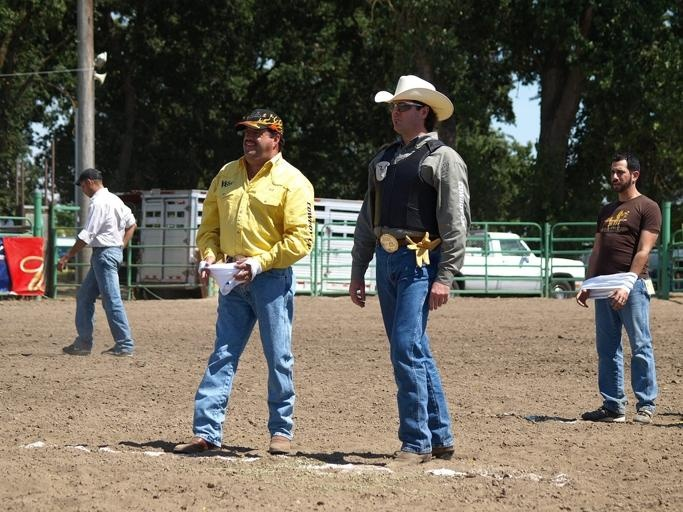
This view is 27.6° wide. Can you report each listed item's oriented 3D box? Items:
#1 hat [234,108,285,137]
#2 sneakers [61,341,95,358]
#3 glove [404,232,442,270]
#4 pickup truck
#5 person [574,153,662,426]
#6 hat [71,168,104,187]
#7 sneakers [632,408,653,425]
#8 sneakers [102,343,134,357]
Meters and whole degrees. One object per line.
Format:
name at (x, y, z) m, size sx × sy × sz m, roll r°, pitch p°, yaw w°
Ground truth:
hat at (-1.327, -2.220, 23.489) m, size 0.652 × 0.356 × 0.476 m, roll 22°, pitch -14°, yaw -34°
sneakers at (-5.171, 1.847, 27.095) m, size 0.523 × 0.247 × 0.250 m, roll 5°, pitch -1°, yaw 6°
glove at (1.327, -0.072, 23.318) m, size 0.614 × 0.640 × 0.469 m, roll -4°, pitch -3°, yaw 11°
pickup truck at (4.574, 0.365, 36.610) m, size 3.372 × 1.470 × 1.886 m, roll -1°, pitch 1°, yaw -6°
person at (4.943, 0.595, 24.453) m, size 1.196 × 4.246 × 0.563 m, roll 2°, pitch 0°, yaw 14°
hat at (-5.008, -1.537, 27.058) m, size 0.609 × 0.376 × 0.453 m, roll 0°, pitch 4°, yaw 18°
sneakers at (5.275, 2.841, 24.403) m, size 0.348 × 0.219 × 0.205 m, roll 2°, pitch 0°, yaw 1°
sneakers at (-4.395, 1.833, 27.170) m, size 0.642 × 0.290 × 0.246 m, roll 5°, pitch 0°, yaw 14°
